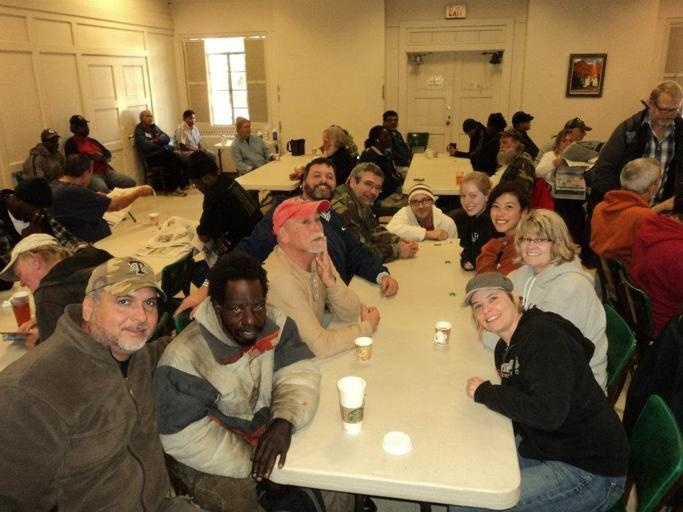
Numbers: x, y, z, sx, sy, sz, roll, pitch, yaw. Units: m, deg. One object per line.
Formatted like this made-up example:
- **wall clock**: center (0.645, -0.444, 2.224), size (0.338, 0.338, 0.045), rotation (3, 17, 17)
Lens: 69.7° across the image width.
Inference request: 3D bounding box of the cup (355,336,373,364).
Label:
- **cup**: center (0.110, 0.463, 2.470), size (0.108, 0.092, 0.103), rotation (-2, 22, 1)

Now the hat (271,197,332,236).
- **hat**: center (-0.239, -0.255, 2.744), size (0.291, 0.105, 0.192), rotation (-21, 20, 30)

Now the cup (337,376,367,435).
- **cup**: center (0.042, 0.592, 2.033), size (0.102, 0.217, 0.176), rotation (-2, 21, 2)

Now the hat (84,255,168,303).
- **hat**: center (-0.916, 0.080, 2.113), size (0.320, 0.156, 0.238), rotation (-5, -2, 34)

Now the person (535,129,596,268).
- **person**: center (2.743, -0.691, 5.697), size (0.725, 1.728, 0.539), rotation (-11, 20, 18)

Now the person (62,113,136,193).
- **person**: center (-3.957, -1.514, 8.007), size (0.917, 1.486, 0.684), rotation (12, 27, 13)

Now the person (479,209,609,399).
- **person**: center (1.122, 0.410, 2.789), size (0.722, 1.287, 0.688), rotation (0, 14, 32)

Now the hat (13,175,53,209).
- **hat**: center (-2.302, -0.493, 3.717), size (0.235, 0.198, 0.235), rotation (5, 13, -6)

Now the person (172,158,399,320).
- **person**: center (-0.369, -0.162, 3.601), size (1.771, 0.885, 0.636), rotation (-3, 13, -18)

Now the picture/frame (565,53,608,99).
- **picture/frame**: center (4.619, -3.467, 9.258), size (0.820, 1.017, 0.070), rotation (-2, 20, 3)

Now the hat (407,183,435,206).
- **hat**: center (0.722, -0.583, 4.550), size (0.182, 0.119, 0.223), rotation (0, 13, 7)

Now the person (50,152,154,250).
- **person**: center (-2.430, -0.618, 4.959), size (1.052, 0.748, 0.638), rotation (-6, 28, -42)

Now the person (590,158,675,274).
- **person**: center (2.265, -0.327, 3.821), size (0.658, 0.940, 0.410), rotation (-33, 42, -11)

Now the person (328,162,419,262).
- **person**: center (0.184, -0.326, 4.022), size (0.891, 0.767, 0.590), rotation (12, 45, 14)

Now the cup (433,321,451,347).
- **cup**: center (0.517, 0.410, 2.608), size (0.104, 0.107, 0.103), rotation (2, 30, -1)

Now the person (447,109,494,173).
- **person**: center (2.318, -1.819, 8.662), size (0.750, 1.253, 0.552), rotation (-19, 36, -10)

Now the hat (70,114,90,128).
- **hat**: center (-4.136, -2.151, 7.751), size (0.303, 0.187, 0.224), rotation (-8, 20, -6)
